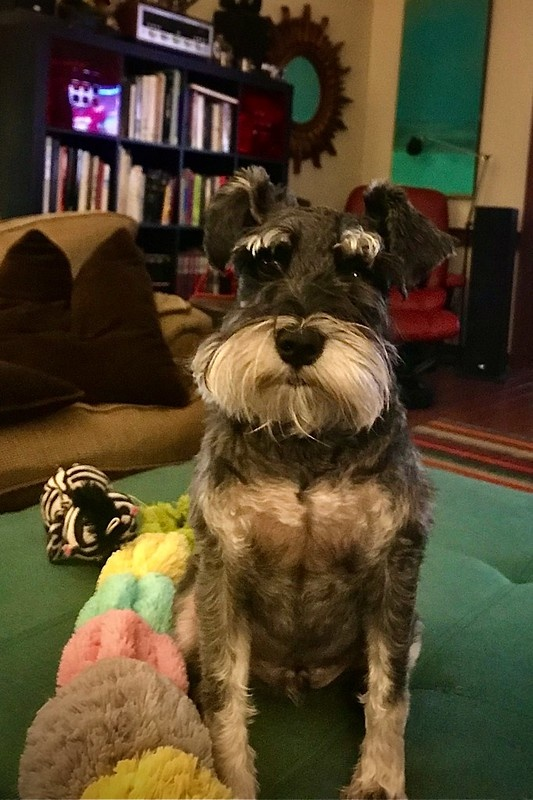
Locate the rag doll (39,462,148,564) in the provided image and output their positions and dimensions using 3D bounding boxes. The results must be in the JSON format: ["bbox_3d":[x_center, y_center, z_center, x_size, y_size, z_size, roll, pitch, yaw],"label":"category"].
[{"bbox_3d":[-0.330,0.208,1.250,0.188,0.152,0.080,39,-6,-2],"label":"rag doll"}]

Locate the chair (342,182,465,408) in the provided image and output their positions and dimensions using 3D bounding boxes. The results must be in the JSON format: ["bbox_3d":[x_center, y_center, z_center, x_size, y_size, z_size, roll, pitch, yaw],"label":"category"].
[{"bbox_3d":[1.052,-0.855,5.063,0.968,1.472,0.962,-2,20,-1],"label":"chair"}]

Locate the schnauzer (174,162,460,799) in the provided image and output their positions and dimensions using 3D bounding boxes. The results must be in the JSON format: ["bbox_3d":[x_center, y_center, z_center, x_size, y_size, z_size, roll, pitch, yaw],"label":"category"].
[{"bbox_3d":[0.074,0.058,0.935,0.414,0.773,0.558,2,14,-2],"label":"schnauzer"}]
